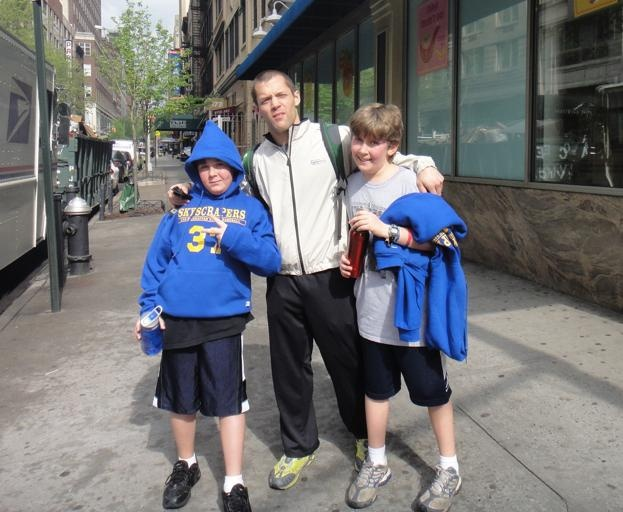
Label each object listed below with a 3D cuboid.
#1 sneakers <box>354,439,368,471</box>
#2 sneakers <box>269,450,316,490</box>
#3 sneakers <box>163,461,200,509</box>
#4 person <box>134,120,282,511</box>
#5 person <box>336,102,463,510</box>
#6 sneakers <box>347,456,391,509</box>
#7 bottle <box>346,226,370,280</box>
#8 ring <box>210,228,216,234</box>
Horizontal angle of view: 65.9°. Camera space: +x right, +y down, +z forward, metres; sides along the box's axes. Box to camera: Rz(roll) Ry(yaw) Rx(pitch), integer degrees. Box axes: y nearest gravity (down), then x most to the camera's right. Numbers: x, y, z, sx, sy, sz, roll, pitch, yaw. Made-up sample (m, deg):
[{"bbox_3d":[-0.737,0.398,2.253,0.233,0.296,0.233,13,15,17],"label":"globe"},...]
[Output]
[{"bbox_3d":[0.278,1.110,2.714,0.055,0.084,0.179,-2,-3,4],"label":"sneakers"},{"bbox_3d":[-0.119,1.170,2.686,0.103,0.117,0.254,4,6,32],"label":"sneakers"},{"bbox_3d":[-0.683,1.179,2.489,0.094,0.123,0.263,2,-6,-4],"label":"sneakers"},{"bbox_3d":[-0.522,0.285,2.493,0.693,1.921,0.622,0,11,17],"label":"person"},{"bbox_3d":[0.441,0.246,2.392,0.572,1.970,0.516,0,11,17],"label":"person"},{"bbox_3d":[0.298,1.157,2.476,0.116,0.145,0.313,-12,-5,23],"label":"sneakers"},{"bbox_3d":[0.233,-0.005,2.345,0.107,0.266,0.132,2,12,27],"label":"bottle"},{"bbox_3d":[-0.475,-0.115,2.298,0.028,0.033,0.020,-4,11,-3],"label":"ring"}]
